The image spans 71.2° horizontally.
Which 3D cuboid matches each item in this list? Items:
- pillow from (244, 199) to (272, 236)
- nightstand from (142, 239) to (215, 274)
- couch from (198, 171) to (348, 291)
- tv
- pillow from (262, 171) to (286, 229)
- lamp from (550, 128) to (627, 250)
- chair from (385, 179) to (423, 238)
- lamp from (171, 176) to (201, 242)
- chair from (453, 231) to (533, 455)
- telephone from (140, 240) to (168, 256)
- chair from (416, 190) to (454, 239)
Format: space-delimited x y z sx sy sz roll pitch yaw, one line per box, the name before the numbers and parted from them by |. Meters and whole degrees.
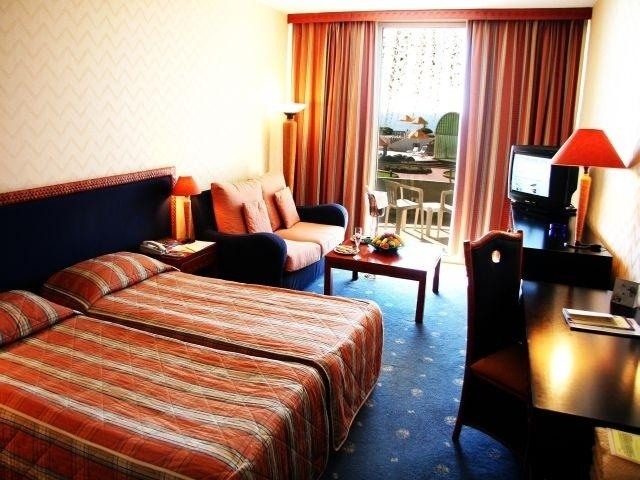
pillow | -0.674 -0.242 4.805 0.105 0.328 0.362 -15 3 28
nightstand | -1.300 0.024 4.136 0.343 0.434 0.473 10 21 20
couch | -0.495 -0.280 4.882 1.239 1.234 1.904 6 16 21
tv | 2.225 -0.580 4.461 0.440 0.631 0.731 -5 15 -14
pillow | -0.460 -0.477 5.379 0.205 0.551 0.742 -9 8 13
lamp | 2.204 -0.444 3.727 0.499 0.946 0.717 12 20 31
chair | 1.175 -0.466 6.172 0.500 0.816 0.508 -12 26 -21
lamp | -1.339 -0.306 4.441 0.286 0.679 0.434 -5 18 -19
chair | 1.045 0.636 2.737 0.440 1.293 0.781 7 18 18
telephone | -1.488 0.066 4.005 0.184 0.078 0.135 3 15 0
chair | 1.650 -0.405 6.528 0.549 0.758 0.630 2 12 0
